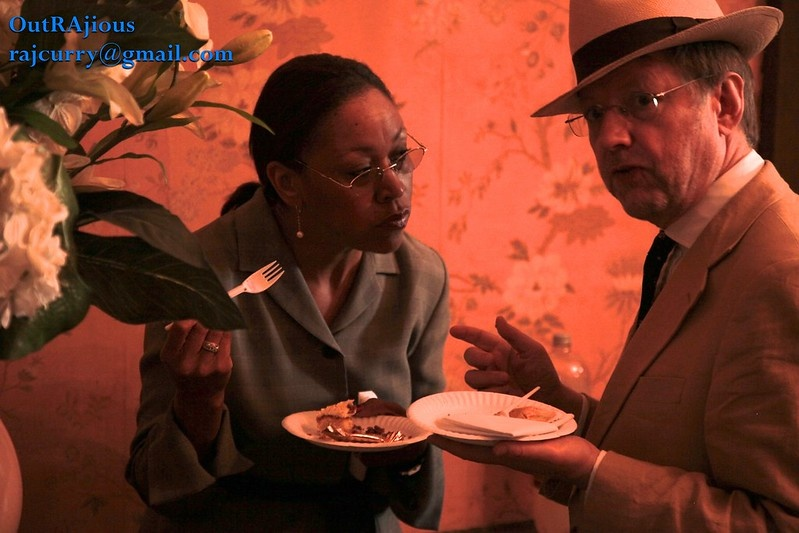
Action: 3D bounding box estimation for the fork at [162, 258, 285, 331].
[{"bbox_3d":[-0.356,0.062,1.503,0.300,0.042,0.035,-34,-17,22],"label":"fork"}]
